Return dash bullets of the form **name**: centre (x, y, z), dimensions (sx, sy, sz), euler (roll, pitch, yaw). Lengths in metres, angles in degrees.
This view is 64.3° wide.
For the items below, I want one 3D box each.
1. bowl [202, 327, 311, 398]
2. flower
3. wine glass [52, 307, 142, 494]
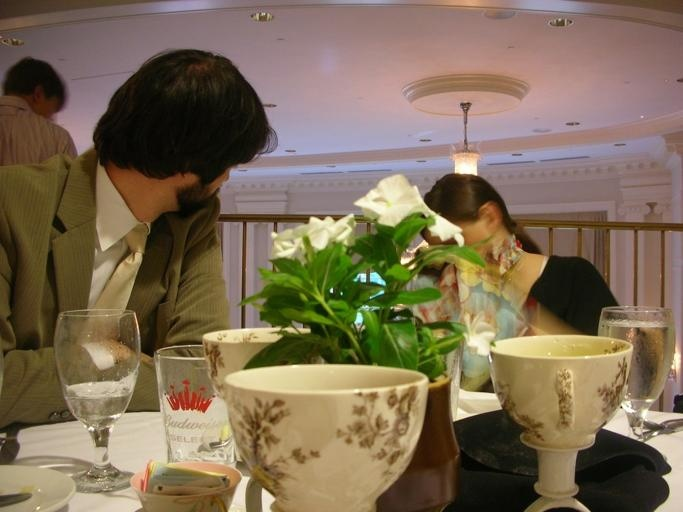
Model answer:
- **bowl**: centre (-0.111, 0.145, 0.682), dimensions (0.115, 0.083, 0.120), euler (-3, -19, -1)
- **flower**: centre (0.014, 0.023, 0.590), dimensions (0.237, 0.211, 0.194), euler (0, -2, -11)
- **wine glass**: centre (-0.356, 0.205, 0.784), dimensions (0.114, 0.244, 0.077), euler (0, -2, -18)
